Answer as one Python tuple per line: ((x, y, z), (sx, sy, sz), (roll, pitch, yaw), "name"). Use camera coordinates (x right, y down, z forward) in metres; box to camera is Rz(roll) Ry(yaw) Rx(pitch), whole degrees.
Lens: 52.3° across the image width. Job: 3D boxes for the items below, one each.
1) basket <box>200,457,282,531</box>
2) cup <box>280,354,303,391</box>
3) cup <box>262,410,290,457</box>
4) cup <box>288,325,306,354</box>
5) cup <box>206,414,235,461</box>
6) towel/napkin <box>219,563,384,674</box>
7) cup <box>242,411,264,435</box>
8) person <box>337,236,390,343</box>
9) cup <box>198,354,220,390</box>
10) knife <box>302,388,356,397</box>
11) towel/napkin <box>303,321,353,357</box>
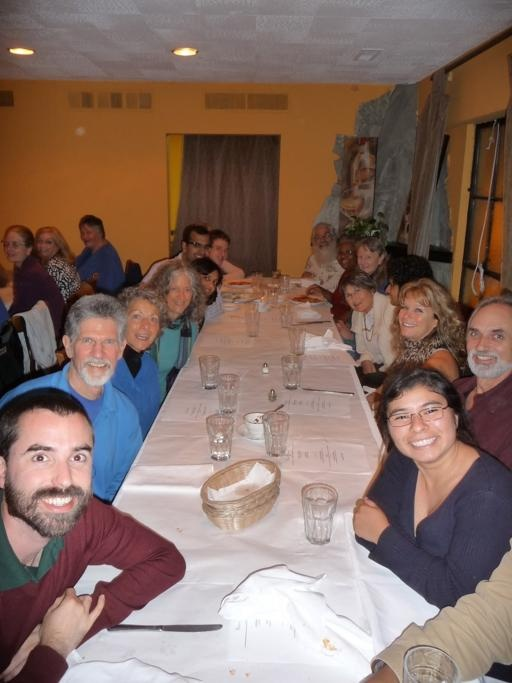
((-0.037, 0.401, 1.395), (0.136, 0.069, 0.182), (6, 26, 23), "basket")
((0.166, 0.145, 2.423), (0.109, 0.155, 0.103), (-2, 21, 1), "cup")
((0.064, 0.303, 1.704), (0.104, 0.149, 0.100), (-1, 24, 0), "cup")
((0.242, -0.012, 3.031), (0.113, 0.165, 0.112), (-1, 24, 0), "cup")
((-0.117, 0.315, 1.705), (0.093, 0.115, 0.091), (-2, 26, 1), "cup")
((0.067, 0.519, 0.951), (0.295, 0.078, 0.163), (7, 17, 16), "towel/napkin")
((0.006, 0.286, 1.903), (0.088, 0.058, 0.091), (1, 2, 0), "cup")
((1.054, -0.496, 4.565), (0.569, 0.741, 0.475), (-4, 2, -20), "person")
((-0.217, 0.141, 2.420), (0.102, 0.141, 0.101), (0, 26, 0), "cup")
((0.330, 0.228, 2.381), (0.172, 0.027, 0.021), (3, -9, 11), "knife")
((0.429, -0.016, 3.137), (0.229, 0.045, 0.217), (0, 29, -6), "towel/napkin")
